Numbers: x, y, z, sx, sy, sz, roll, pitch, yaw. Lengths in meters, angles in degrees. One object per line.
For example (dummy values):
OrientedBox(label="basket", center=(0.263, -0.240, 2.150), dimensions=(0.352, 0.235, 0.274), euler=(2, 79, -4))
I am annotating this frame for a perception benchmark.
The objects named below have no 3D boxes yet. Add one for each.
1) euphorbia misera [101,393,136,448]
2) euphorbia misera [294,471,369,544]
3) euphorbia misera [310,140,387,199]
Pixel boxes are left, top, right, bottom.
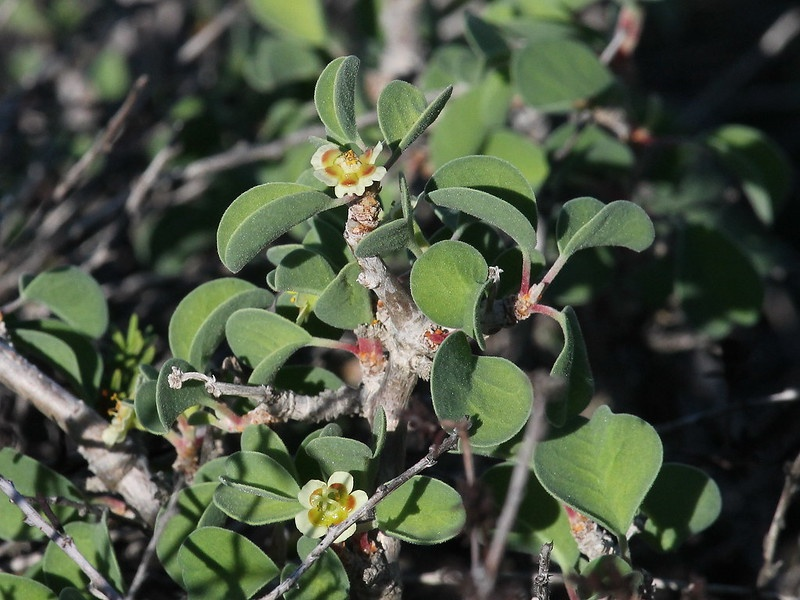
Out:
OrientedBox(label="euphorbia misera", center=(-0.708, 0.280, 2.293), dimensions=(0.069, 0.106, 0.049), euler=(23, 111, 35))
OrientedBox(label="euphorbia misera", center=(-0.157, 0.465, 2.075), dimensions=(0.153, 0.074, 0.169), euler=(13, 50, 24))
OrientedBox(label="euphorbia misera", center=(-0.114, -0.283, 1.991), dimensions=(0.127, 0.062, 0.140), euler=(-5, 74, -3))
